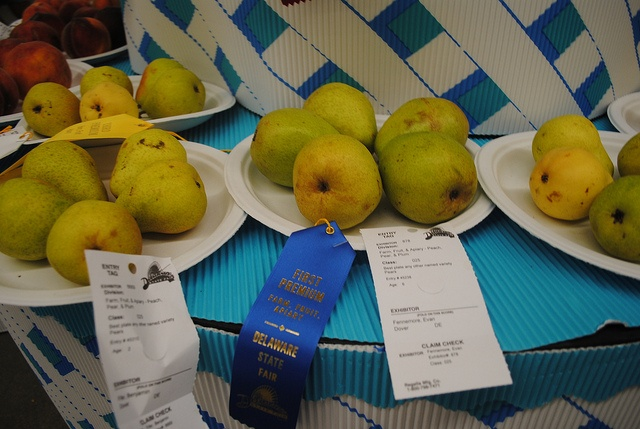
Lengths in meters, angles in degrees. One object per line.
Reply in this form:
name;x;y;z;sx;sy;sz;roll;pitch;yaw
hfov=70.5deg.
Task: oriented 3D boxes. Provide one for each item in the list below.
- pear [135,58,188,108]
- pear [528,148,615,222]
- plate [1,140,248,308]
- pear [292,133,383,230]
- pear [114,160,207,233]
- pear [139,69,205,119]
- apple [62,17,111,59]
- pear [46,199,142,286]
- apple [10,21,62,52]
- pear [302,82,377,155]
pear;-0.297;-0.258;0.869;0.055;0.075;0.094;36;51;6
pear;0.345;-0.039;0.663;0.102;0.088;0.097;5;69;-2
plate;-0.250;0.052;0.661;0.252;0.044;0.295;27;47;28
pear;0.021;-0.043;0.675;0.114;0.117;0.126;33;83;6
pear;-0.215;-0.019;0.648;0.107;0.088;0.098;-1;75;7
pear;-0.268;-0.222;0.830;0.094;0.103;0.086;5;53;6
apple;-0.564;-0.424;1.117;0.091;0.111;0.097;-10;18;-18
pear;-0.292;0.028;0.633;0.103;0.112;0.117;-19;97;-9
apple;-0.669;-0.431;1.069;0.076;0.057;0.092;32;25;29
pear;0.030;-0.164;0.773;0.114;0.084;0.084;44;55;14
